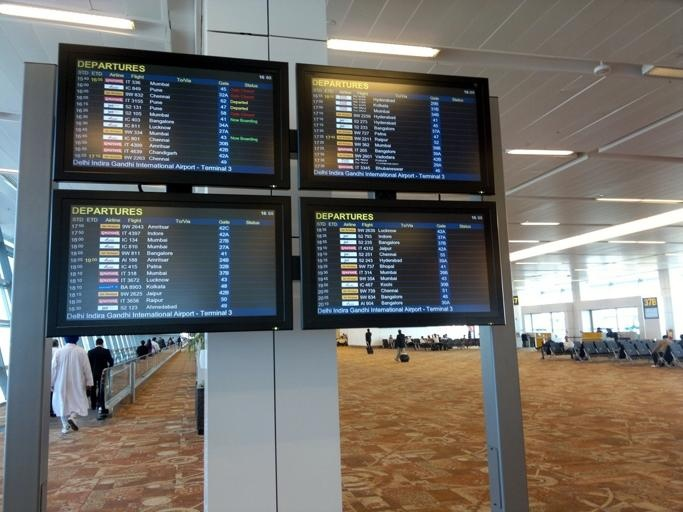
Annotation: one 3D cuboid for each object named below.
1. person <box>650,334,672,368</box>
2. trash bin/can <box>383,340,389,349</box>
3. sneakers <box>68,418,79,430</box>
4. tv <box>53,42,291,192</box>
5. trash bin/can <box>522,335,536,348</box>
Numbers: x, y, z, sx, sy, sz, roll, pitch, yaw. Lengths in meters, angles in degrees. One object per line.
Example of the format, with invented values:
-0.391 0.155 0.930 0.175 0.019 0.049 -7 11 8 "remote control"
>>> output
12.609 3.835 20.298 0.670 1.044 0.978 -2 -5 21 "person"
3.352 6.814 39.273 0.739 0.726 0.401 2 -12 -1 "trash bin/can"
-5.002 3.172 9.600 0.116 0.265 0.114 -29 -2 -12 "sneakers"
-1.292 -1.030 3.902 1.296 0.742 0.089 1 -12 -11 "tv"
12.437 5.779 34.426 1.194 1.120 0.631 3 -8 -40 "trash bin/can"
